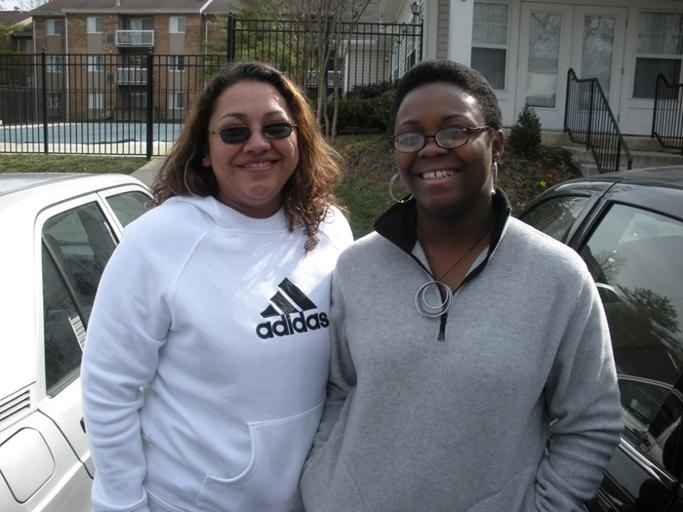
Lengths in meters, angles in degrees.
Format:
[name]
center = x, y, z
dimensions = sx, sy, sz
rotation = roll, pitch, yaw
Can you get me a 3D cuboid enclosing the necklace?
[necklace]
center = 0.378, 0.074, 1.969
dimensions = 0.139, 0.346, 0.036
rotation = 33, -14, 20
